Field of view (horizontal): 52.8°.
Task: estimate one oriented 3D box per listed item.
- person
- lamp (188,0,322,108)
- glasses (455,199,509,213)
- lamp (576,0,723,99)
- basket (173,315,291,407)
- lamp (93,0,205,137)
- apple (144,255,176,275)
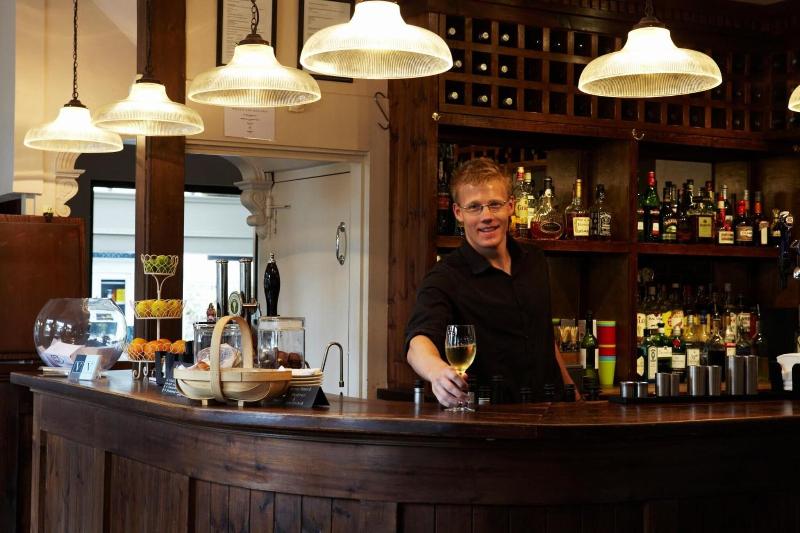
[{"bbox_3d":[0.406,0.123,3.996,0.648,1.250,1.142,5,14,38],"label":"person"},{"bbox_3d":[-0.720,-0.932,4.027,0.510,0.548,0.501,-2,-2,21],"label":"lamp"},{"bbox_3d":[0.425,-0.295,4.052,0.226,0.061,0.062,-3,11,5],"label":"glasses"},{"bbox_3d":[1.249,-0.919,4.003,0.564,0.611,0.560,-3,-4,30],"label":"lamp"},{"bbox_3d":[-0.748,0.495,3.696,0.615,0.457,0.378,-3,-7,23],"label":"basket"},{"bbox_3d":[-1.353,-1.032,4.614,0.559,0.951,0.550,-1,0,5],"label":"lamp"},{"bbox_3d":[-1.388,-0.011,4.667,0.162,0.073,0.161,2,-4,-25],"label":"apple"}]
